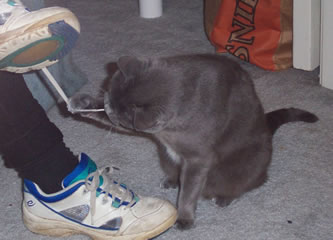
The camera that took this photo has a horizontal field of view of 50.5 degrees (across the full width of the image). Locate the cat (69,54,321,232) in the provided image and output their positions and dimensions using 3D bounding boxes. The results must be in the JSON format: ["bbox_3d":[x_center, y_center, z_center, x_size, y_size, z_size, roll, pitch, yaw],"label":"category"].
[{"bbox_3d":[0.173,0.051,1.473,0.976,0.689,0.535,-20,23,-7],"label":"cat"}]
